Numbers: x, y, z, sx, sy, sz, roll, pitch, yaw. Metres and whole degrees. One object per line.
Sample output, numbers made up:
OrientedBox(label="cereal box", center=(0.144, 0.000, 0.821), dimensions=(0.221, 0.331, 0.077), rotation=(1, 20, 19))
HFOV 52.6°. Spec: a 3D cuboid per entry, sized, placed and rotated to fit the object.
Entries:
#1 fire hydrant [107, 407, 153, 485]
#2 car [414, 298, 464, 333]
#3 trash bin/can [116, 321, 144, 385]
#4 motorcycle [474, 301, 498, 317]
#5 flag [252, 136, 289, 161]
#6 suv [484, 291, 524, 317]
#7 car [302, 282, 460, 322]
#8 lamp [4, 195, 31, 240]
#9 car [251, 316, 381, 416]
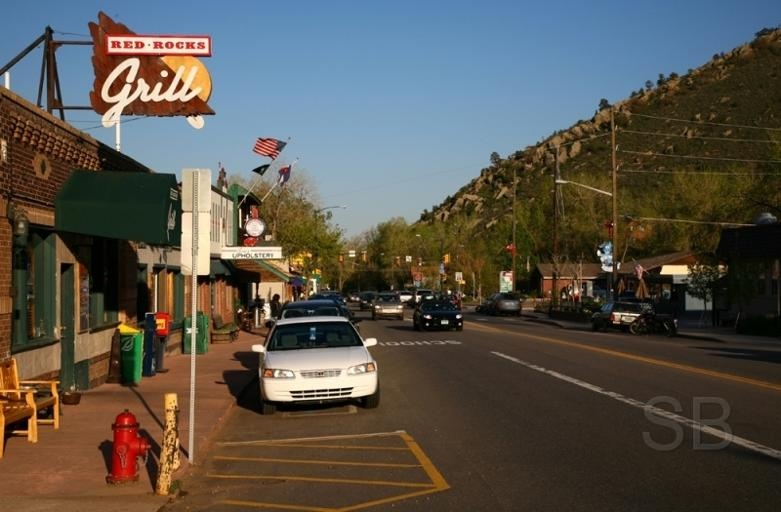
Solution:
OrientedBox(label="fire hydrant", center=(-4.620, 3.350, 14.169), dimensions=(0.792, 1.294, 1.130), rotation=(1, -1, -13))
OrientedBox(label="car", center=(2.464, 3.026, 39.769), dimensions=(2.045, 1.551, 2.278), rotation=(-1, -4, -9))
OrientedBox(label="trash bin/can", center=(-7.255, 2.809, 21.995), dimensions=(0.655, 1.529, 1.218), rotation=(0, -3, -20))
OrientedBox(label="motorcycle", center=(7.941, 4.401, 64.295), dimensions=(1.102, 0.749, 2.345), rotation=(1, 4, -2))
OrientedBox(label="flag", center=(-6.730, -5.991, 44.443), dimensions=(1.280, 1.222, 1.478), rotation=(1, -4, -31))
OrientedBox(label="suv", center=(9.089, 3.862, 62.229), dimensions=(2.637, 1.846, 4.680), rotation=(0, -4, -19))
OrientedBox(label="car", center=(-0.126, 3.513, 55.914), dimensions=(3.550, 2.585, 8.225), rotation=(0, -8, -7))
OrientedBox(label="lamp", center=(-8.264, -0.856, 17.504), dimensions=(0.392, 0.849, 0.728), rotation=(0, -3, -19))
OrientedBox(label="car", center=(-1.666, 2.610, 18.853), dimensions=(2.788, 2.180, 2.208), rotation=(-2, -3, 4))
